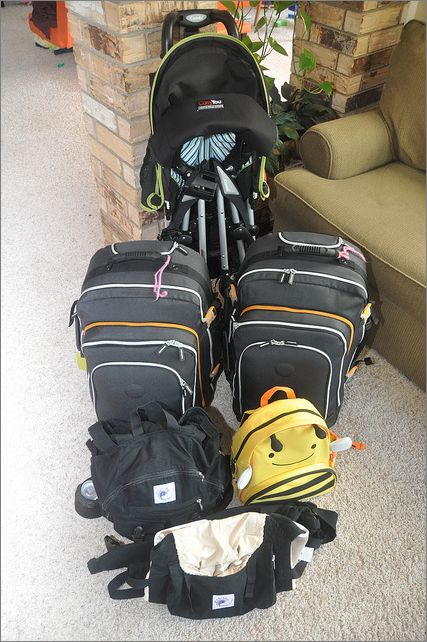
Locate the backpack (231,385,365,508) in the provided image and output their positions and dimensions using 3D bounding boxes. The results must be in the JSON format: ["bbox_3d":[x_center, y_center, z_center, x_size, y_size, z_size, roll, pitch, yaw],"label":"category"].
[{"bbox_3d":[0.194,0.337,1.290,0.288,0.239,0.231,-5,46,-10],"label":"backpack"}]

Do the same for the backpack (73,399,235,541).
[{"bbox_3d":[-0.143,0.367,1.305,0.343,0.174,0.440,-4,35,-7],"label":"backpack"}]

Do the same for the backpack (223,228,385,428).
[{"bbox_3d":[0.240,0.030,1.495,0.416,0.586,0.387,2,45,3],"label":"backpack"}]

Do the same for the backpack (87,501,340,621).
[{"bbox_3d":[0.003,0.546,1.158,0.560,0.236,0.234,-8,29,-4],"label":"backpack"}]

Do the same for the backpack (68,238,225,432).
[{"bbox_3d":[-0.184,0.051,1.455,0.429,0.585,0.392,0,44,3],"label":"backpack"}]
